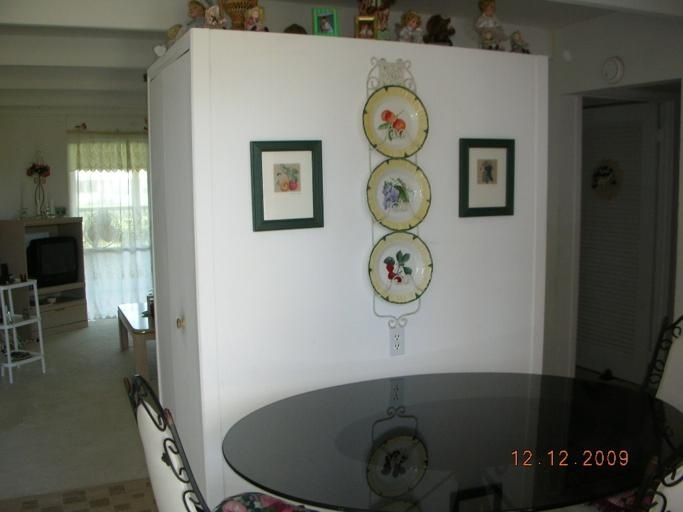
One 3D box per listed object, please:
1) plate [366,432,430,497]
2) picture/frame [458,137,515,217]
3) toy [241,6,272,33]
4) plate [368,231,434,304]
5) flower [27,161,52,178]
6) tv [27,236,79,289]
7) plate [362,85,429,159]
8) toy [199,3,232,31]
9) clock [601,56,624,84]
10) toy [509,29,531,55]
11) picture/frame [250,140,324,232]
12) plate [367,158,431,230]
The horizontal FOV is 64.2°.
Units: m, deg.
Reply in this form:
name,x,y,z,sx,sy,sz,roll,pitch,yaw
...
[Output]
name,x,y,z,sx,sy,sz,roll,pitch,yaw
plate,0.217,0.798,2.104,0.230,0.030,0.372,3,16,9
picture/frame,0.827,-0.475,3.157,0.368,0.534,0.038,-4,7,-18
toy,-0.436,-1.213,2.781,0.126,0.132,0.117,-6,15,-23
plate,0.329,0.070,3.031,0.375,0.407,0.075,-6,14,-22
flower,-3.963,-1.107,7.111,0.216,0.160,0.233,-1,6,20
tv,-3.650,0.062,6.913,0.630,0.649,0.294,-11,18,-38
plate,0.286,-0.733,2.959,0.329,0.401,0.050,-5,9,-20
toy,-0.647,-1.232,2.807,0.125,0.141,0.277,-4,16,-15
clock,2.035,-1.402,4.086,0.062,0.197,0.180,-5,15,-23
toy,1.091,-1.317,3.341,0.103,0.155,0.342,4,16,16
picture/frame,-0.297,-0.377,2.793,0.383,0.517,0.034,-3,5,-22
plate,0.314,-0.335,2.988,0.367,0.386,0.070,-5,14,-19
